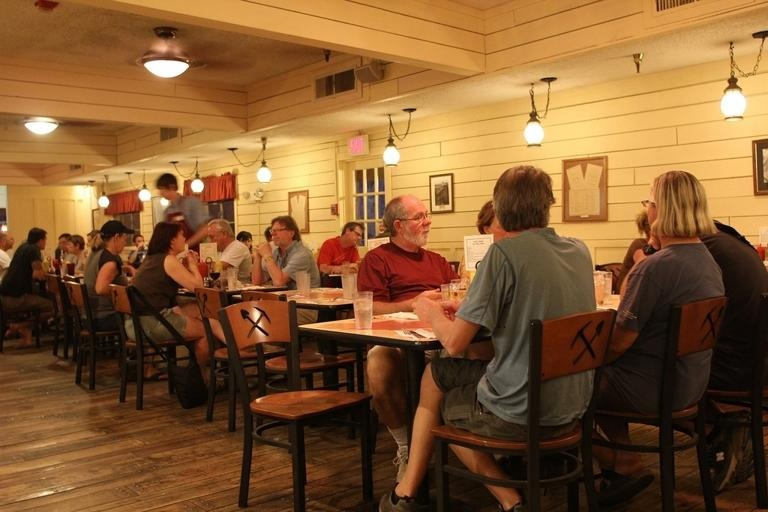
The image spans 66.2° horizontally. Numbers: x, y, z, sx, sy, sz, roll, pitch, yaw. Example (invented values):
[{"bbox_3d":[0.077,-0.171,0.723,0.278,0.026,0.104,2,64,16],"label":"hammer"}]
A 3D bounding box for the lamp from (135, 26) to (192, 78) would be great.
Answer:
[{"bbox_3d":[-2.709,-2.415,7.130,0.645,0.537,0.600,-2,0,0],"label":"lamp"}]

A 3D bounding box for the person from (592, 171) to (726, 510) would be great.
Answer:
[{"bbox_3d":[1.497,0.478,3.231,0.670,1.871,0.428,-1,5,23],"label":"person"}]

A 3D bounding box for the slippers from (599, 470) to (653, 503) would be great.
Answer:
[{"bbox_3d":[1.382,1.318,3.371,0.309,0.102,0.122,-18,36,-6],"label":"slippers"}]

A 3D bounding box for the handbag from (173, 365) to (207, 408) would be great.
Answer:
[{"bbox_3d":[-1.766,1.178,5.314,0.272,0.376,0.301,-3,1,18],"label":"handbag"}]

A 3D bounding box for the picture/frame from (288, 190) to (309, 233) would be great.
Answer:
[{"bbox_3d":[-1.547,-0.786,10.723,0.594,0.767,0.041,1,3,44],"label":"picture/frame"}]

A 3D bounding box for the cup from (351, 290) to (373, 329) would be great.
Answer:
[{"bbox_3d":[-0.115,0.309,3.363,0.098,0.202,0.129,-4,4,-7],"label":"cup"}]

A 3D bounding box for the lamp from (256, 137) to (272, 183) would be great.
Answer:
[{"bbox_3d":[-2.068,-1.639,10.041,0.314,0.754,0.293,-6,18,-38],"label":"lamp"}]

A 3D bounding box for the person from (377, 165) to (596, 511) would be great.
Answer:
[{"bbox_3d":[0.546,0.462,2.982,0.965,1.814,0.460,-1,5,24],"label":"person"}]

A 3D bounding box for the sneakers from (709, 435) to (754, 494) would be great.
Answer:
[{"bbox_3d":[2.137,1.246,3.672,0.263,0.382,0.162,5,0,-7],"label":"sneakers"}]

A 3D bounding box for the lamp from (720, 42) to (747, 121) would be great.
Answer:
[{"bbox_3d":[3.520,-1.735,5.910,0.224,0.763,0.696,0,5,31],"label":"lamp"}]

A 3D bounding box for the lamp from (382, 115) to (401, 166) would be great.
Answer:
[{"bbox_3d":[0.094,-1.614,8.191,0.266,0.682,0.241,-5,17,-22],"label":"lamp"}]

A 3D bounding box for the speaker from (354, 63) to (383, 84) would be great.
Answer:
[{"bbox_3d":[-0.178,-2.330,7.481,0.104,0.147,0.306,-21,14,-24],"label":"speaker"}]

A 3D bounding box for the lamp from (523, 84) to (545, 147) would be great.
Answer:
[{"bbox_3d":[1.828,-1.690,7.115,0.237,0.734,0.840,-2,4,15],"label":"lamp"}]

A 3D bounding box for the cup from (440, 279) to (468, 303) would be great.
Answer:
[{"bbox_3d":[0.434,0.205,3.453,0.122,0.097,0.145,0,3,-19],"label":"cup"}]
